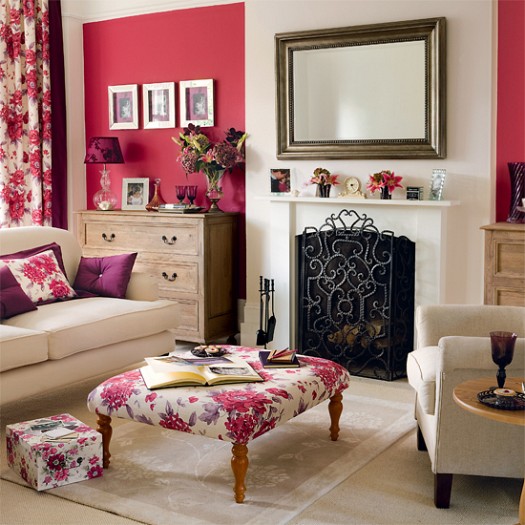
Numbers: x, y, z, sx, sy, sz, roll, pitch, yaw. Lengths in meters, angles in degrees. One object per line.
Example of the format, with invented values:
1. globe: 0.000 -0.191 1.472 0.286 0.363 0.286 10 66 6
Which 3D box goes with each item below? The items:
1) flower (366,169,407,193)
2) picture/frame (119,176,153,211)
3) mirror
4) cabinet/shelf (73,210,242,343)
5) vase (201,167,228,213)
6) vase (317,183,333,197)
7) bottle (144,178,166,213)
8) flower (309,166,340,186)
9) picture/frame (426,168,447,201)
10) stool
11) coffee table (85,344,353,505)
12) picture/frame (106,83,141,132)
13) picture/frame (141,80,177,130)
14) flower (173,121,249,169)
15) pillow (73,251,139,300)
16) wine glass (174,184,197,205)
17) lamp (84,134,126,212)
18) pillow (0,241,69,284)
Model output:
1. flower: 0.851 -0.544 3.563 0.194 0.094 0.180 2 -2 8
2. picture/frame: -1.148 -0.629 4.782 0.433 0.420 0.047 0 -3 22
3. mirror: 0.648 -1.186 3.677 1.367 0.877 0.091 12 29 37
4. cabinet/shelf: -0.701 0.109 3.803 1.234 0.896 0.463 3 5 28
5. vase: -0.399 -0.592 4.367 0.159 0.338 0.328 0 2 -6
6. vase: 0.451 -0.519 3.775 0.104 0.099 0.094 1 14 0
7. bottle: -0.950 -0.606 4.624 0.160 0.315 0.383 0 2 -12
8. flower: 0.446 -0.615 3.756 0.159 0.064 0.152 3 4 22
9. picture/frame: 1.149 -0.506 3.411 0.106 0.216 0.170 1 2 17
10. stool: -0.843 0.727 2.064 0.265 0.139 0.271 -3 8 -40
11. coffee table: -0.154 0.634 2.269 0.767 0.392 0.834 2 3 33
12. picture/frame: -1.291 -1.459 4.893 0.539 0.573 0.054 4 6 33
13. picture/frame: -0.917 -1.414 4.690 0.527 0.538 0.049 4 5 32
14. flower: -0.383 -0.903 4.304 0.633 0.276 0.434 3 9 6
15. pillow: -1.031 0.084 3.439 0.382 0.308 0.088 -2 -26 24
16. wine glass: -0.640 -0.577 4.409 0.230 0.190 0.121 -8 17 -33
17. lamp: -1.474 -0.848 4.867 0.337 0.731 0.492 -1 2 -17
18. pillow: -1.414 0.004 3.193 0.304 0.188 0.033 -9 -16 -37
